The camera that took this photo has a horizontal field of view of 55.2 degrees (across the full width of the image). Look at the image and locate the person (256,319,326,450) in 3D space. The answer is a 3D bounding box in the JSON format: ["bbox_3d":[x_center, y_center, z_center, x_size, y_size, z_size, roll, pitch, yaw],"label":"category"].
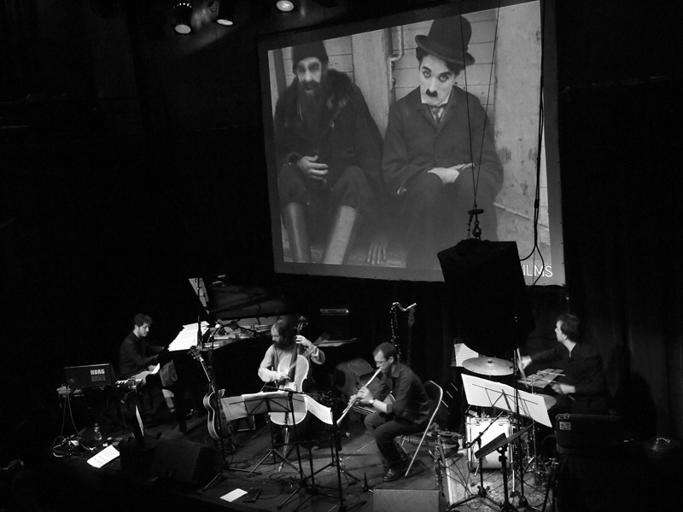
[{"bbox_3d":[-0.722,1.917,9.802,0.902,1.904,0.594,-7,-17,24],"label":"person"}]

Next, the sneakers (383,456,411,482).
[{"bbox_3d":[0.771,2.899,8.949,0.156,0.168,0.443,1,11,38],"label":"sneakers"}]

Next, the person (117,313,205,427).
[{"bbox_3d":[-3.097,1.847,10.733,1.008,1.868,0.968,0,9,-4],"label":"person"}]

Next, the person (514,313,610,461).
[{"bbox_3d":[3.116,1.796,8.995,1.160,2.025,0.711,4,12,29],"label":"person"}]

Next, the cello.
[{"bbox_3d":[-0.752,1.695,9.574,0.573,1.596,0.517,-8,-25,19],"label":"cello"}]

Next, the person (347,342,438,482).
[{"bbox_3d":[0.749,2.210,9.258,1.071,1.891,0.924,-1,5,7],"label":"person"}]

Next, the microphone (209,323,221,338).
[{"bbox_3d":[-2.058,1.192,10.564,0.163,0.042,0.175,-11,38,15],"label":"microphone"}]

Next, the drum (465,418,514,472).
[{"bbox_3d":[1.896,2.483,8.632,0.651,0.887,0.689,-2,-2,0],"label":"drum"}]
